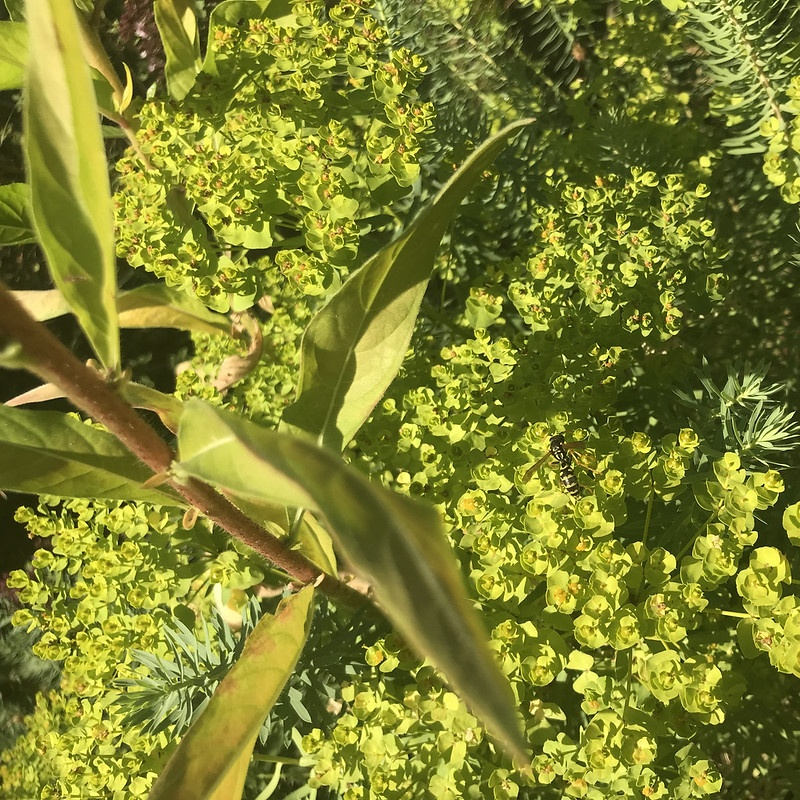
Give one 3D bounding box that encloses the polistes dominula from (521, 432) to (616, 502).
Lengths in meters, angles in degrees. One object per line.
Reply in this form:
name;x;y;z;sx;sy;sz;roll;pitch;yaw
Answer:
polistes dominula;0.218;0.091;1.202;0.124;0.078;0.034;-5;-17;10
